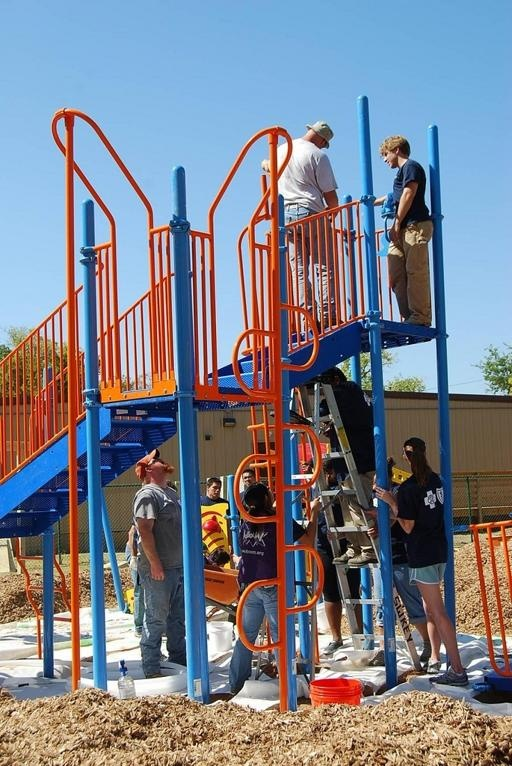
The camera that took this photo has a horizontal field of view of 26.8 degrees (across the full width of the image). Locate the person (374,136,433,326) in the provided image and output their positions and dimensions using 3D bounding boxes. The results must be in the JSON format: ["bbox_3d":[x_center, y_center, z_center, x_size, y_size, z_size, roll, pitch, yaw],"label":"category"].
[{"bbox_3d":[1.109,-1.110,7.907,0.394,1.388,0.680,-5,-5,7],"label":"person"}]

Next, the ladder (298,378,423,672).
[{"bbox_3d":[0.744,0.696,7.667,0.548,2.707,0.564,-15,-6,40],"label":"ladder"}]

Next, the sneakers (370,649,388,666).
[{"bbox_3d":[0.852,1.924,7.514,0.107,0.063,0.147,-6,-10,19],"label":"sneakers"}]

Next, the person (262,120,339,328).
[{"bbox_3d":[0.347,-1.211,7.546,0.460,1.682,1.529,-5,-6,5],"label":"person"}]

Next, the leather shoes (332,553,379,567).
[{"bbox_3d":[0.711,1.218,7.382,0.186,0.072,0.145,6,-11,-26],"label":"leather shoes"}]

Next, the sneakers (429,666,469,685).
[{"bbox_3d":[1.181,1.797,6.575,0.257,0.138,0.095,2,-5,9],"label":"sneakers"}]

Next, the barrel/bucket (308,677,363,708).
[{"bbox_3d":[0.402,1.572,5.537,0.243,0.219,0.273,3,-17,-25],"label":"barrel/bucket"}]

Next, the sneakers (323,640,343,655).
[{"bbox_3d":[0.583,2.020,8.117,0.061,0.073,0.188,-21,-6,30],"label":"sneakers"}]
